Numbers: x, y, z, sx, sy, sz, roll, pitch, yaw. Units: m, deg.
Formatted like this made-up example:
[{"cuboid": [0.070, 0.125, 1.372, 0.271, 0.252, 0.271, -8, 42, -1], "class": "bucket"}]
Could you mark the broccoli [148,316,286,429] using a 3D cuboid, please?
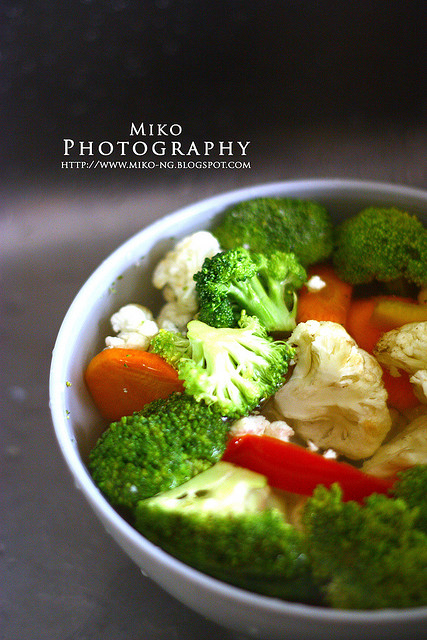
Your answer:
[{"cuboid": [-0.010, 0.128, 1.108, 0.217, 0.083, 0.228, 37, 38, 27], "class": "broccoli"}]

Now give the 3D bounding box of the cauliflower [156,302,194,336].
[{"cuboid": [-0.085, -0.005, 1.209, 0.059, 0.025, 0.067, -9, 61, -8], "class": "cauliflower"}]
